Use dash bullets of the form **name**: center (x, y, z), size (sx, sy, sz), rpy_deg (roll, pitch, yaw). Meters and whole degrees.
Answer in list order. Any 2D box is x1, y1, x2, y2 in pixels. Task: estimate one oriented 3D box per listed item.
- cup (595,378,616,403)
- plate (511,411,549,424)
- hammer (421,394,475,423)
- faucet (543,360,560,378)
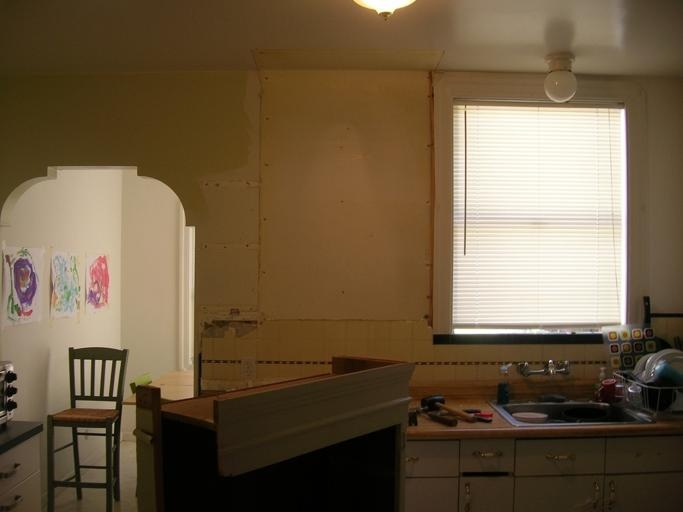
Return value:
- **cup**: center (1.856, 0.950, 4.872), size (0.155, 0.176, 0.099), rpy_deg (1, -2, -17)
- **plate**: center (1.326, 1.117, 4.800), size (0.261, 0.049, 0.206), rpy_deg (-1, -1, -9)
- **hammer**: center (0.709, 0.990, 4.605), size (0.125, 0.142, 0.483), rpy_deg (8, -5, -17)
- **faucet**: center (1.497, 0.804, 4.974), size (0.119, 0.115, 0.087), rpy_deg (-1, -1, 2)
